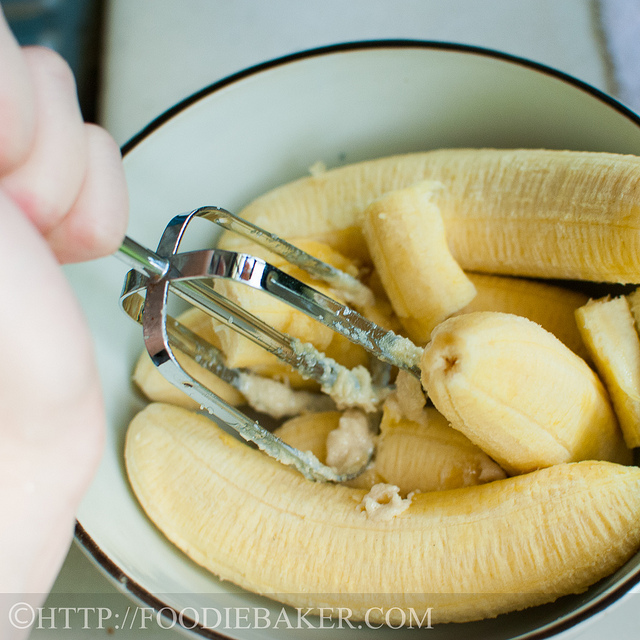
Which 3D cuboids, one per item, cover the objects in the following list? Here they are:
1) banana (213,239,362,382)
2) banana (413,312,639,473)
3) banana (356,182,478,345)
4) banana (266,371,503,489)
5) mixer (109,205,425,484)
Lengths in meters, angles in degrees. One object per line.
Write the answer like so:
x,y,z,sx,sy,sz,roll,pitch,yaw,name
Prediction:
-0.038,-0.016,0.689,0.126,0.043,0.141,13,86,-8,banana
0.182,0.064,0.638,0.104,0.219,0.083,-52,31,-2,banana
0.099,-0.058,0.715,0.091,0.052,0.162,-21,99,20,banana
0.064,0.119,0.669,0.190,0.070,0.110,7,63,16,banana
-0.047,-0.015,0.655,0.268,0.280,0.206,-8,43,-8,mixer
